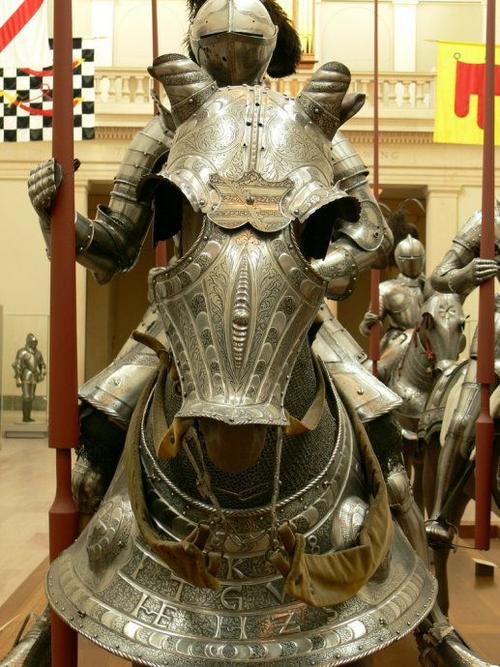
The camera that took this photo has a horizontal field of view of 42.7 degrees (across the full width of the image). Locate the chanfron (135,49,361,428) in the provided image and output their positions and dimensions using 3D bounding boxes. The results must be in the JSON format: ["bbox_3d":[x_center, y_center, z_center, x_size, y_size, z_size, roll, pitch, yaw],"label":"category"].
[{"bbox_3d":[0.002,-0.160,1.026,0.324,0.645,0.123,5,-22,-2],"label":"chanfron"}]
